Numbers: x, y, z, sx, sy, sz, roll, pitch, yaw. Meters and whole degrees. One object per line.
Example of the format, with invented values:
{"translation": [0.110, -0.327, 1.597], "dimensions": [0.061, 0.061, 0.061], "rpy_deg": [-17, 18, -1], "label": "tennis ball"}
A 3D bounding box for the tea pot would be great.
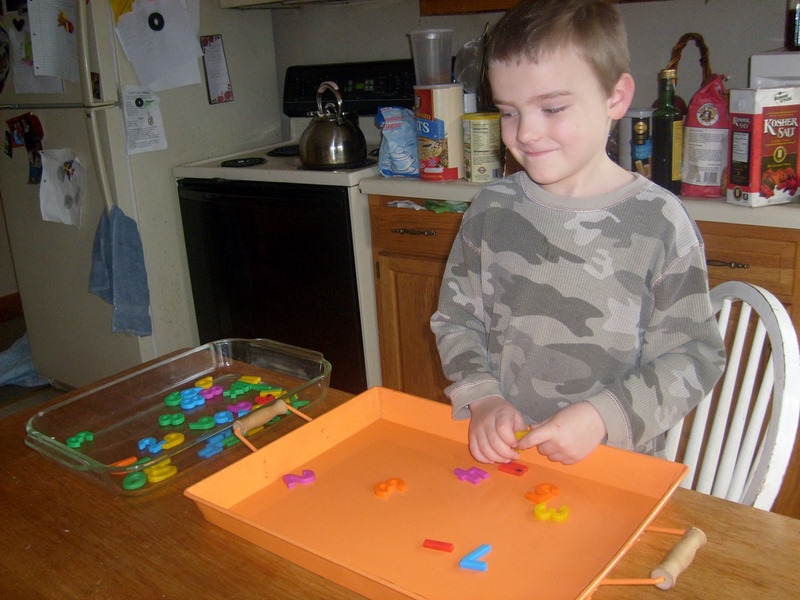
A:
{"translation": [-0.254, -0.706, 2.487], "dimensions": [0.368, 0.329, 0.268], "rpy_deg": [-16, 23, -42], "label": "tea pot"}

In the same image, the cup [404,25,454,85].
{"translation": [0.120, -0.880, 2.285], "dimensions": [0.210, 0.189, 0.208], "rpy_deg": [-3, 14, 1], "label": "cup"}

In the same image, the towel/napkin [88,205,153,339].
{"translation": [-1.200, -0.105, 2.568], "dimensions": [0.262, 0.565, 0.154], "rpy_deg": [-1, 19, 10], "label": "towel/napkin"}
